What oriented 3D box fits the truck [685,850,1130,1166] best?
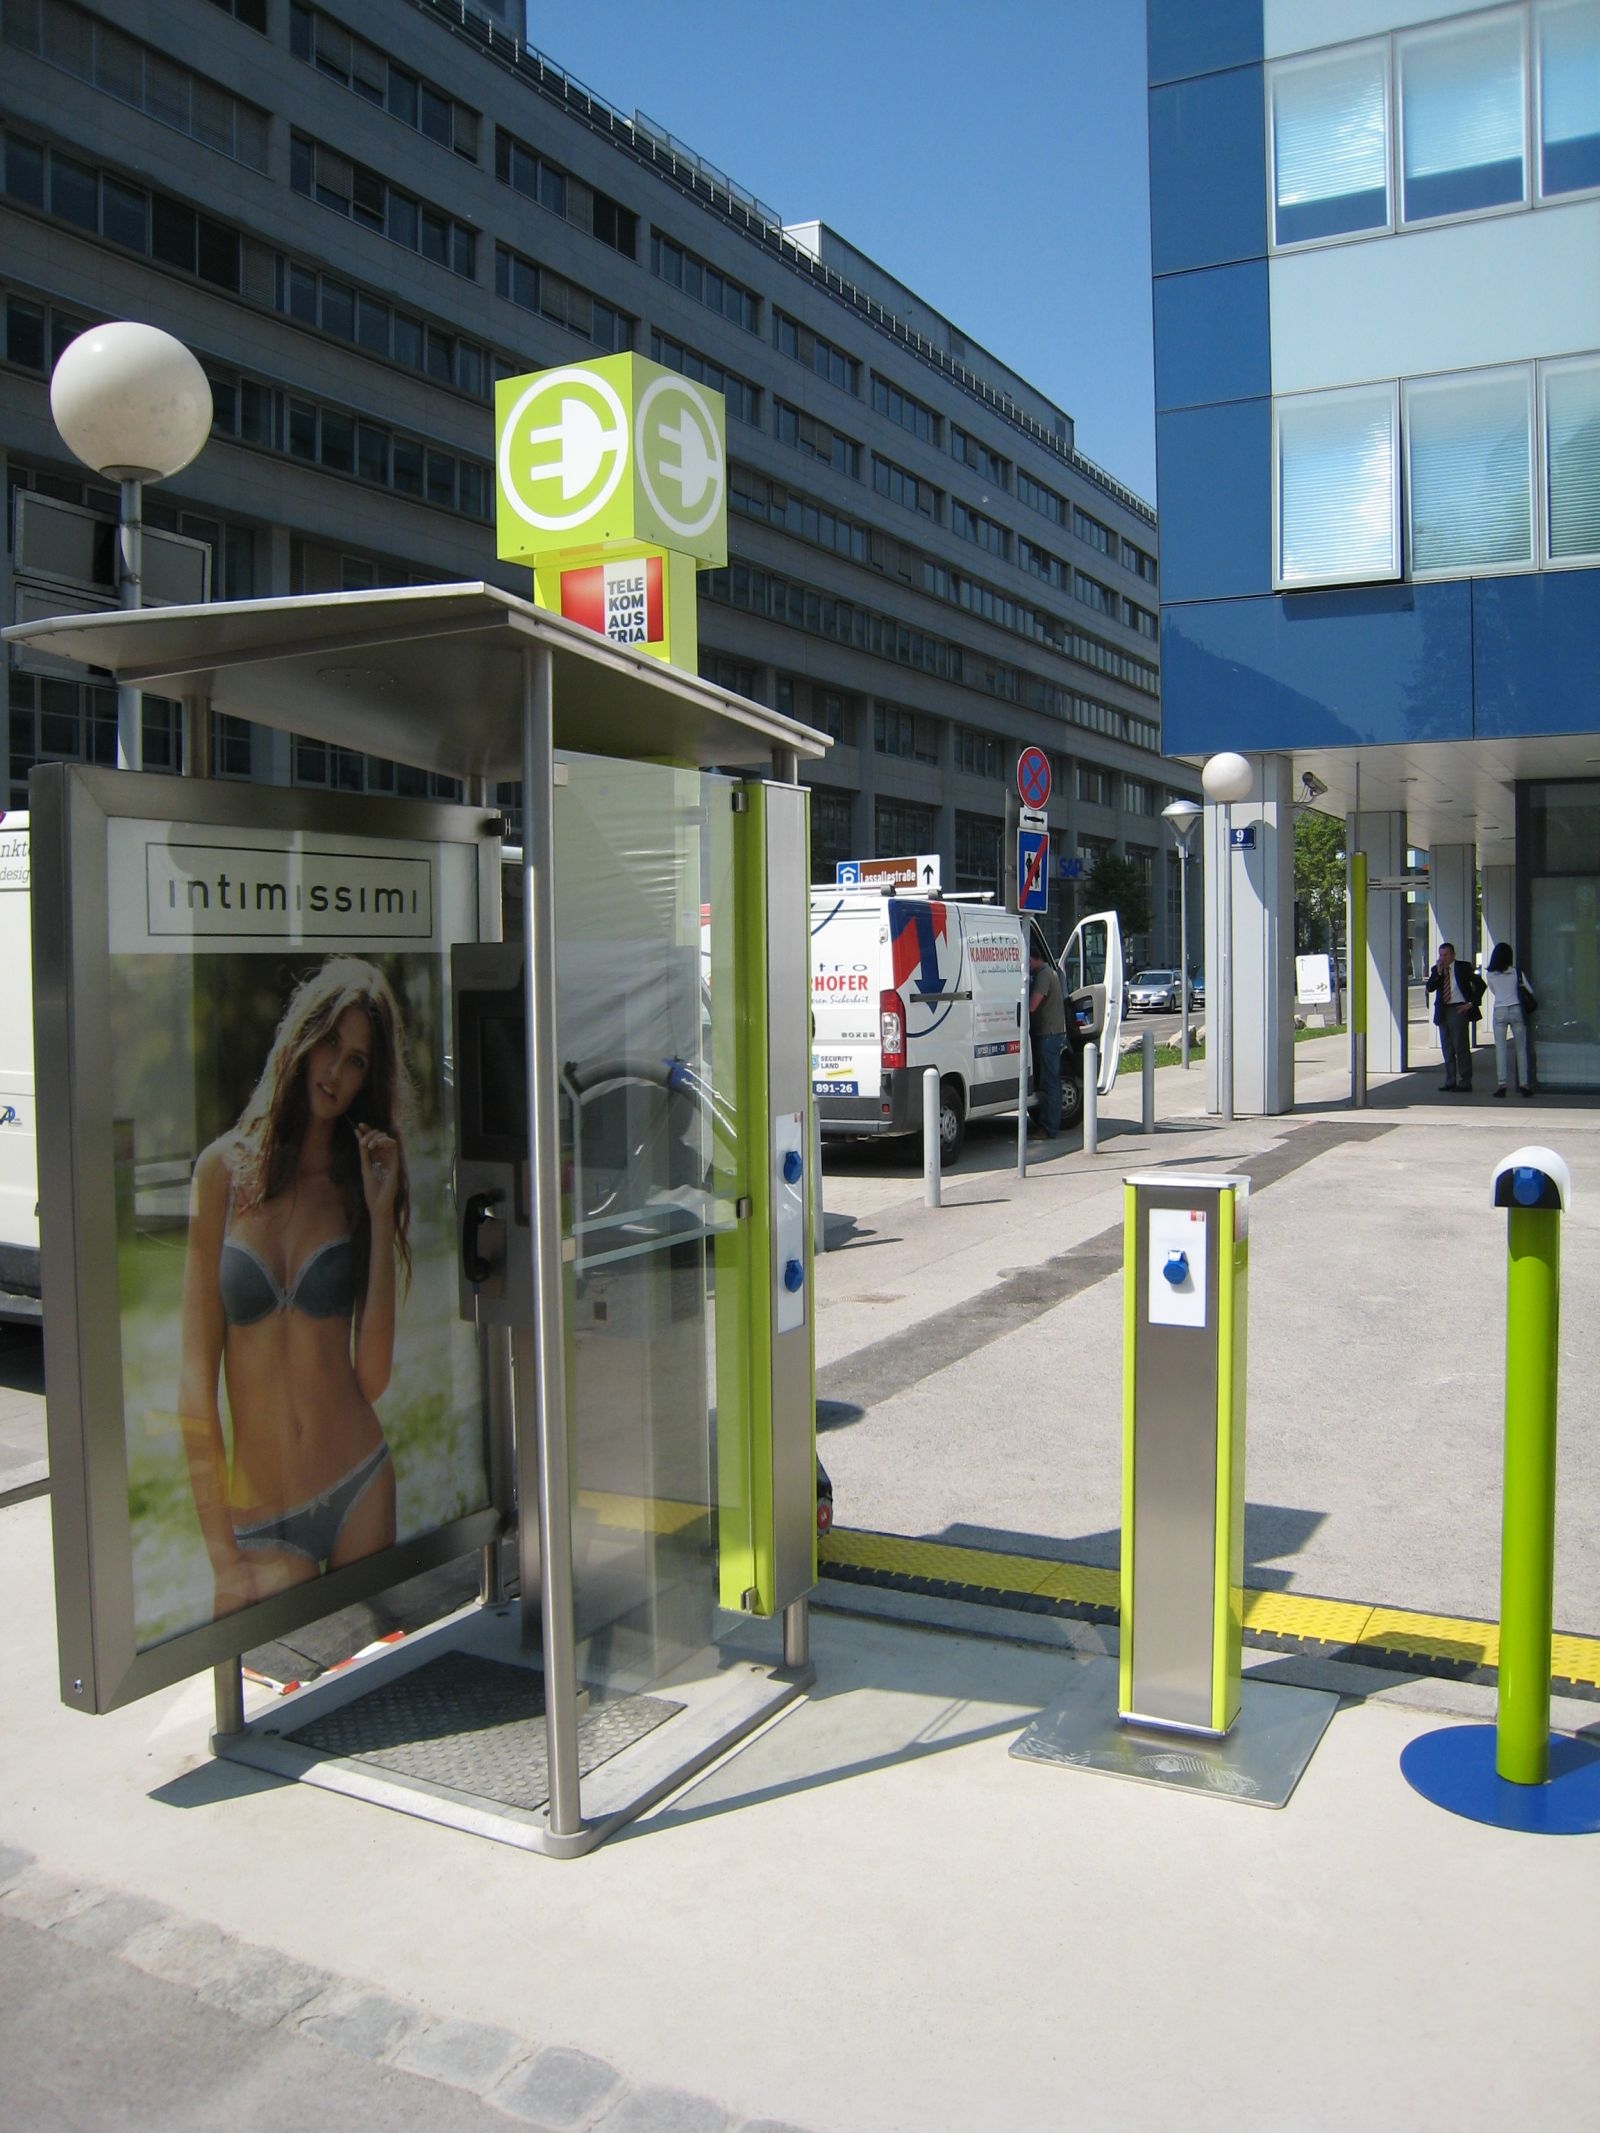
[{"bbox_3d":[1.356,-0.594,15.324,1.885,2.215,2.806,1,8,30],"label":"truck"}]

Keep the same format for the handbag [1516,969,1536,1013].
[{"bbox_3d":[6.957,-0.774,18.611,0.079,0.394,0.217,-8,3,30],"label":"handbag"}]

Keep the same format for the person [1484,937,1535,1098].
[{"bbox_3d":[7.000,-0.507,19.138,0.401,1.568,2.866,0,3,20],"label":"person"}]

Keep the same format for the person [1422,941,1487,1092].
[{"bbox_3d":[7.170,-0.686,21.220,0.490,1.626,0.478,0,22,25],"label":"person"}]
